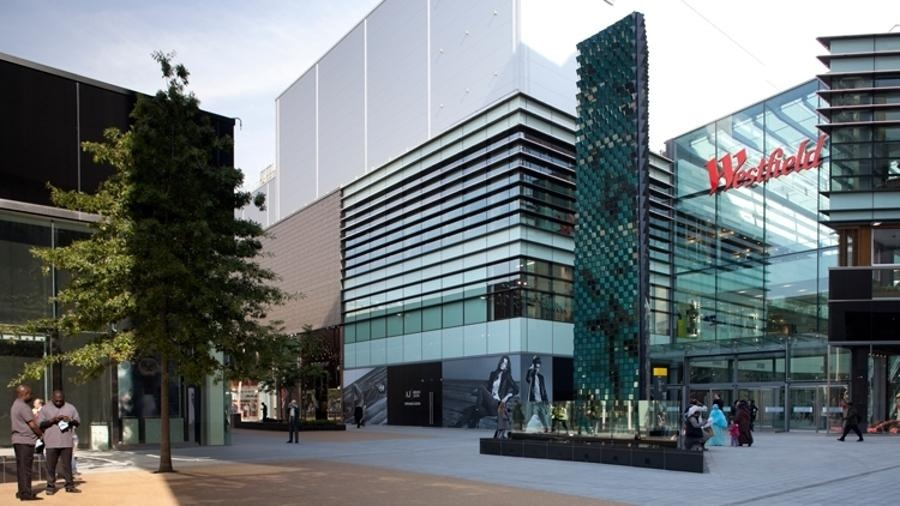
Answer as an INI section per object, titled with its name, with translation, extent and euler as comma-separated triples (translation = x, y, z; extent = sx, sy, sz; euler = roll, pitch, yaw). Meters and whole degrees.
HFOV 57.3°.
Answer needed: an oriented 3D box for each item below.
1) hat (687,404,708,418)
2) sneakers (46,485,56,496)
[hat]
translation = 11.655, 7.515, 39.362
extent = 0.777, 0.507, 0.828
euler = -3, -16, 9
[sneakers]
translation = -16.239, 9.697, 33.729
extent = 0.250, 0.282, 0.443
euler = 9, -21, -33
